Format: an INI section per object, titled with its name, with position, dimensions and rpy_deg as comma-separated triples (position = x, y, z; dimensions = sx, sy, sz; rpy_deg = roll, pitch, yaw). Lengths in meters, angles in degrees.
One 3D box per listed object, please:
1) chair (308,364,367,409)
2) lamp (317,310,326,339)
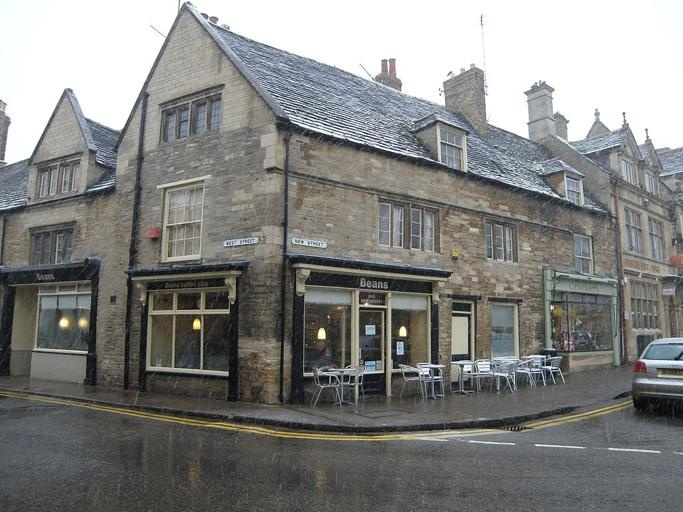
[chair]
position = -0.048, 3.779, 16.360
dimensions = 1.176, 0.821, 1.218
rpy_deg = 1, -5, -28
[lamp]
position = -0.525, 2.066, 16.813
dimensions = 0.153, 0.956, 0.364
rpy_deg = -12, -16, 42
